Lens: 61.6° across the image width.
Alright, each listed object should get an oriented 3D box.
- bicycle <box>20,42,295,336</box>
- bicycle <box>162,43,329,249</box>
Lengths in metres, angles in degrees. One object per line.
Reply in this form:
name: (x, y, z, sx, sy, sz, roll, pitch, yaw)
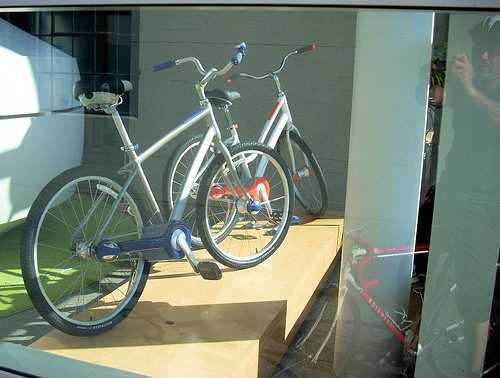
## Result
bicycle: (-0.192, -0.032, 1.276, 0.937, 0.713, 0.469, -19, 19, -30)
bicycle: (-0.008, -0.161, 1.164, 0.469, 0.455, 0.319, -16, 25, -11)
